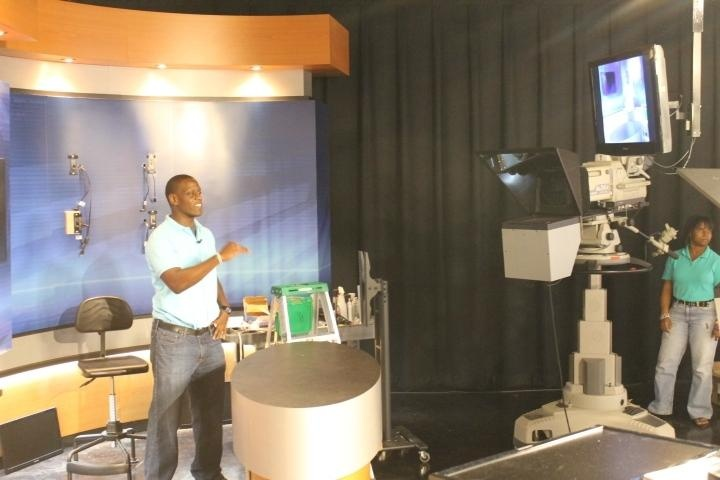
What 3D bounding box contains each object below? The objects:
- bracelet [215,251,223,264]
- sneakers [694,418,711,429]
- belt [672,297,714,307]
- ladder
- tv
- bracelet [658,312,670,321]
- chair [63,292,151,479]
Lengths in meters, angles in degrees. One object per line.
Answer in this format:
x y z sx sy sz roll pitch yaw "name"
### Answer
-1.002 0.132 4.937 0.066 0.075 0.028 6 13 40 "bracelet"
3.091 1.645 6.157 0.124 0.075 0.074 -5 4 -5 "sneakers"
3.079 0.581 6.313 0.318 0.071 0.069 -3 4 30 "belt"
-0.472 0.566 5.165 0.421 0.441 0.508 3 3 38 "ladder"
2.211 -1.102 5.633 0.213 0.825 0.693 -7 4 -30 "tv"
2.858 0.733 6.441 0.096 0.064 0.101 2 -11 6 "bracelet"
-2.148 1.216 5.817 0.691 1.039 1.068 -6 4 -12 "chair"
